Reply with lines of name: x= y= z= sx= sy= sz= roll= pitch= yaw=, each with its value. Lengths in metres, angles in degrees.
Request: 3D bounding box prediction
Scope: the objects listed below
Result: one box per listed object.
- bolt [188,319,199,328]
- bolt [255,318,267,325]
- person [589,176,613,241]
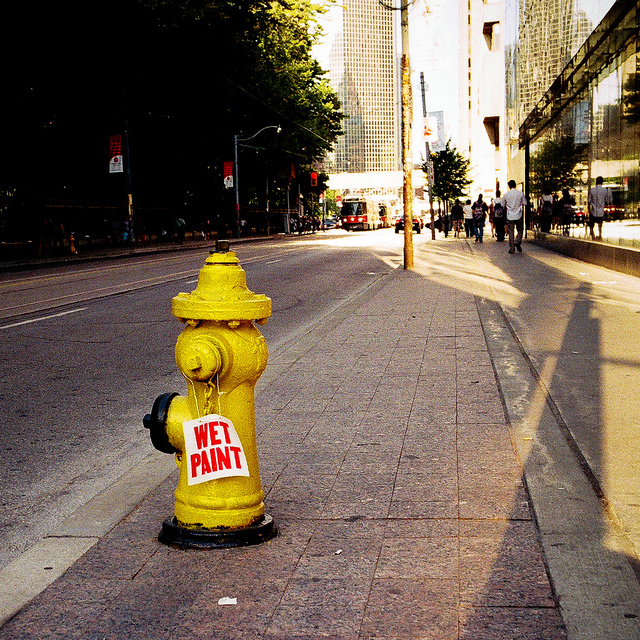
bolt: x=-0.603 y=0.017 z=3.847 sx=0.030 sy=0.029 sz=0.040 roll=0 pitch=-3 yaw=-1
bolt: x=-0.289 y=0.014 z=3.929 sx=0.035 sy=0.048 sz=0.040 roll=-1 pitch=-2 yaw=5
person: x=6.438 y=-2.562 z=18.734 sx=0.283 sy=1.382 sz=1.483 roll=-1 pitch=11 yaw=10
